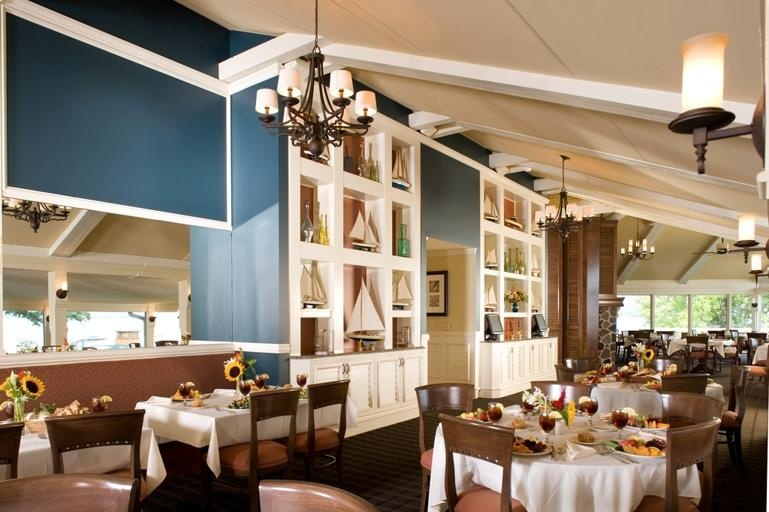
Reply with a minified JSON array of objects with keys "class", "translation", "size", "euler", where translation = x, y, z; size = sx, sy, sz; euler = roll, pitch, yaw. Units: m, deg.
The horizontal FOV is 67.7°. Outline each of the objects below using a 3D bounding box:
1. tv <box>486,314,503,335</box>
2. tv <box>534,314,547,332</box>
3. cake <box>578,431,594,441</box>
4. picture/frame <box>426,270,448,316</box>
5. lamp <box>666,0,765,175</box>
[{"class":"tv","translation":[2.090,1.296,10.887],"size":[0.056,0.271,0.375],"euler":[-24,-21,32]},{"class":"tv","translation":[3.388,1.446,12.434],"size":[0.055,0.490,0.385],"euler":[-25,-17,39]},{"class":"cake","translation":[1.626,1.433,4.567],"size":[0.126,0.065,0.191],"euler":[-7,-11,43]},{"class":"picture/frame","translation":[1.022,0.724,10.914],"size":[0.792,0.908,0.063],"euler":[-7,-12,43]},{"class":"lamp","translation":[1.999,-0.932,3.463],"size":[0.482,0.820,0.243],"euler":[-4,-9,32]}]
